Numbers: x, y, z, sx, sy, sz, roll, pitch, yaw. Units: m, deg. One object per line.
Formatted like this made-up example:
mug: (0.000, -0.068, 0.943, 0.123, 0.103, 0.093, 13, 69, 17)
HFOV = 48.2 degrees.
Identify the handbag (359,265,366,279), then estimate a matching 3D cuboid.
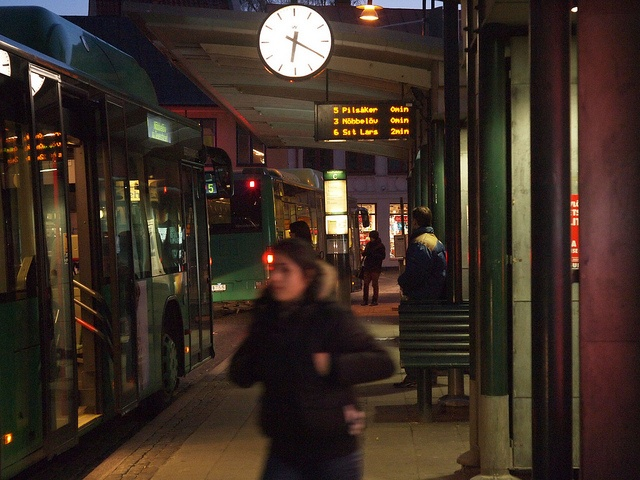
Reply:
handbag: (1.218, 0.906, 20.467, 0.225, 0.067, 0.599, 27, -20, 11)
